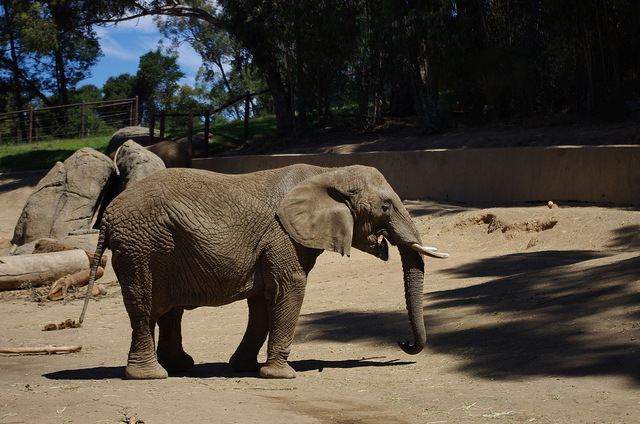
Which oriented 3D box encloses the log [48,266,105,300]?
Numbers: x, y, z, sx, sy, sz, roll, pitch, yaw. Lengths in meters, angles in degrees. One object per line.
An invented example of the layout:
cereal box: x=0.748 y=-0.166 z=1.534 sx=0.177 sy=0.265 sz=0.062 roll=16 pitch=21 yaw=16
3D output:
log: x=-5.988 y=1.703 z=19.656 sx=0.724 sy=0.852 sz=1.779 roll=3 pitch=-4 yaw=5

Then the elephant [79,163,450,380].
elephant: x=-0.766 y=1.080 z=15.870 sx=6.420 sy=4.189 sz=2.392 roll=0 pitch=6 yaw=-9

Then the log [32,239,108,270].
log: x=-6.452 y=1.120 z=21.165 sx=1.966 sy=0.814 sz=0.484 roll=7 pitch=10 yaw=-11
